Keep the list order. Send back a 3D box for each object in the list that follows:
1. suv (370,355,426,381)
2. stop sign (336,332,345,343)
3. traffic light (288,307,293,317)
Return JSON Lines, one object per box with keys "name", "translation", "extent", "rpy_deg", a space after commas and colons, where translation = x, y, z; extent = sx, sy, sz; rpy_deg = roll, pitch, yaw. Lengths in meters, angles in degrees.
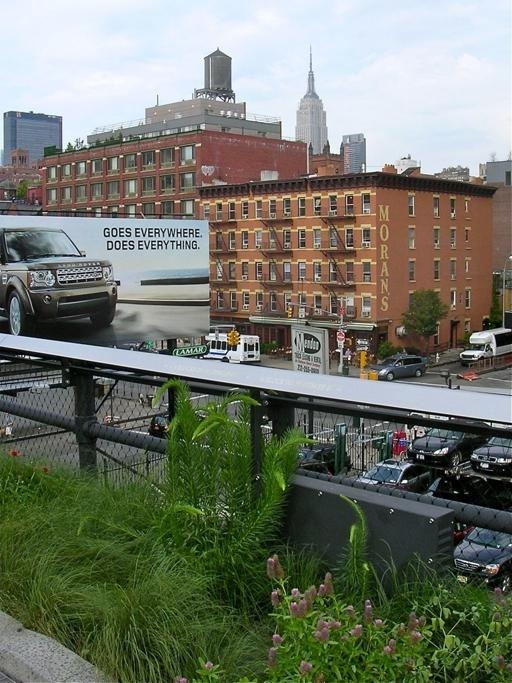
{"name": "suv", "translation": [12.359, 2.336, 62.313], "extent": [1.708, 2.081, 7.077], "rpy_deg": [3, 6, 39]}
{"name": "stop sign", "translation": [7.577, -0.390, 64.601], "extent": [0.917, 1.452, 0.155], "rpy_deg": [1, -7, -5]}
{"name": "traffic light", "translation": [3.531, -3.002, 74.286], "extent": [0.395, 1.034, 0.713], "rpy_deg": [-1, 4, -5]}
